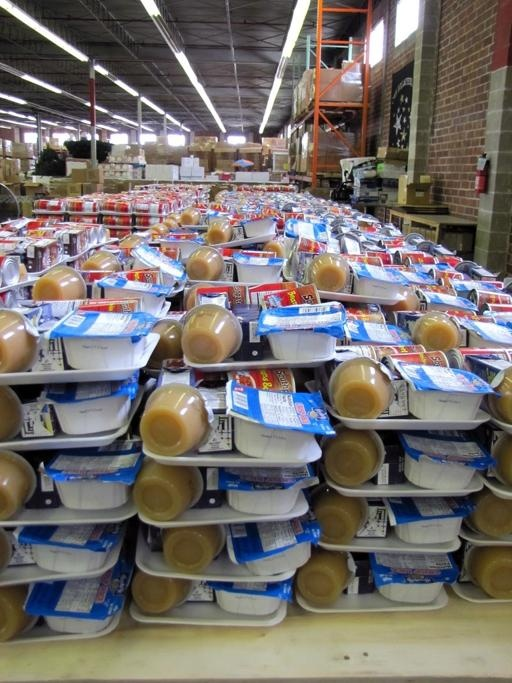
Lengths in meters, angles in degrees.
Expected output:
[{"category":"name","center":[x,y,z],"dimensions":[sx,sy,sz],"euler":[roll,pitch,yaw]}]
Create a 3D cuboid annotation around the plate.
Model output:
[{"category":"plate","center":[-0.037,0.226,1.016],"dimensions":[0.844,0.198,0.859],"euler":[-1,45,-1]}]
